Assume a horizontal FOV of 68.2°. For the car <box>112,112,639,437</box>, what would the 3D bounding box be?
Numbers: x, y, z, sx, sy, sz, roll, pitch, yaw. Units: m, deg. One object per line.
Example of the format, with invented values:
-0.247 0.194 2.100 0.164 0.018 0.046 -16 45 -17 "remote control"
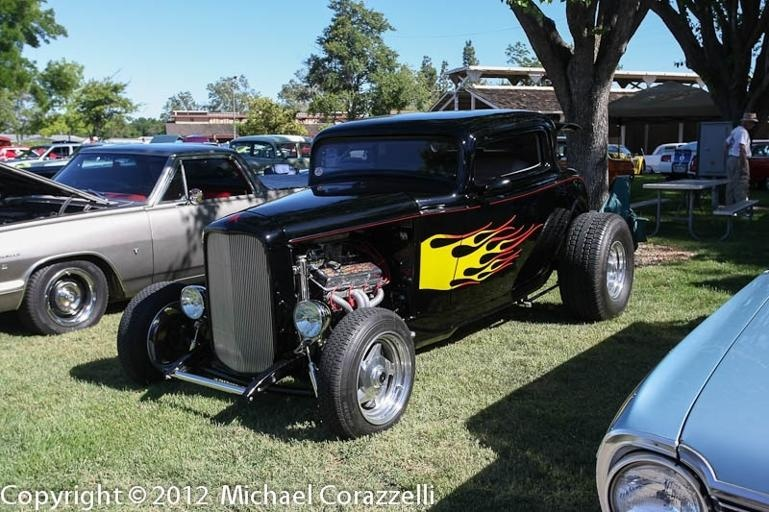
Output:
0.262 -0.037 6.074 2.812 2.068 4.790 3 9 44 "car"
